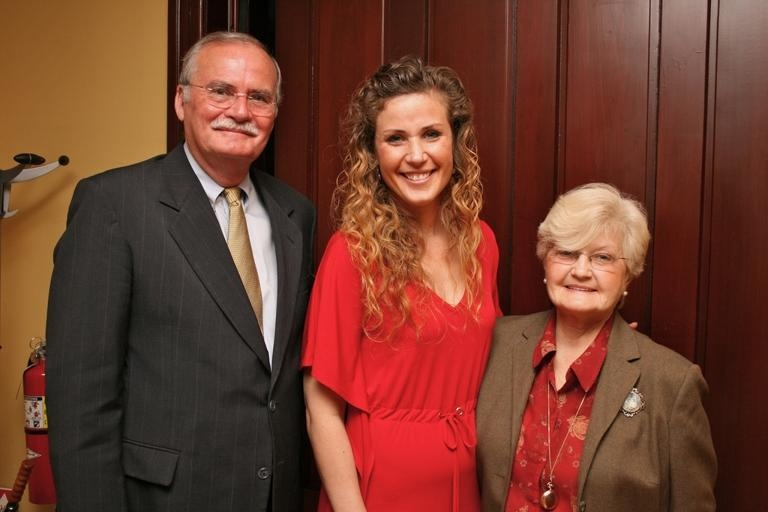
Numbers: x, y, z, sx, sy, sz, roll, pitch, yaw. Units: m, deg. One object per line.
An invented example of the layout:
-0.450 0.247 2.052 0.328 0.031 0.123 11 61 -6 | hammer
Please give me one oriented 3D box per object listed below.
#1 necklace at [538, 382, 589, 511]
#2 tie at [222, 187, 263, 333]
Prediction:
0.645 0.676 2.518 0.185 0.442 0.065 -3 -9 8 | necklace
-0.515 -0.019 2.578 0.084 0.687 0.064 -7 -24 -7 | tie
